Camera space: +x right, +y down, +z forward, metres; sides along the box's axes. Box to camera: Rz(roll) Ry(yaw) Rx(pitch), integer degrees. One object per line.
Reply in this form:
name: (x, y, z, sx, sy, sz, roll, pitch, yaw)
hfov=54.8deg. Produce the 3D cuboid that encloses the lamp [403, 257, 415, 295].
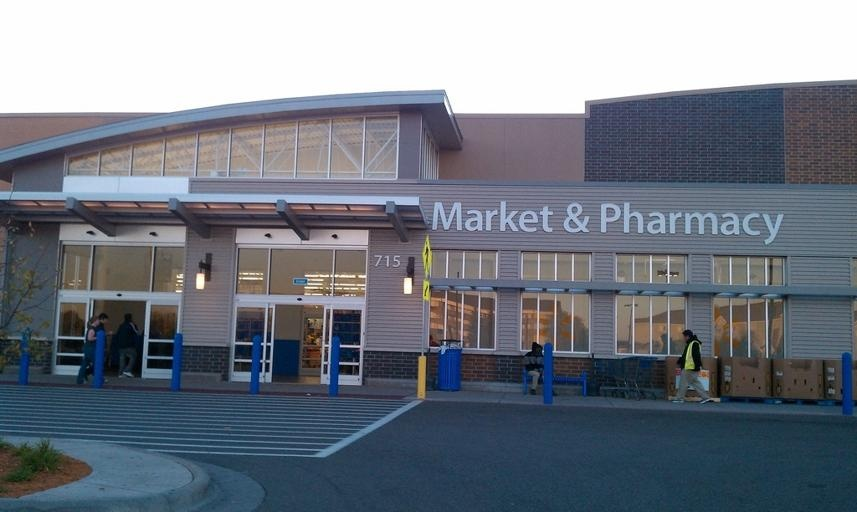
lamp: (-0.762, 0.767, 31.245, 0.386, 1.463, 0.632, 3, 5, 8)

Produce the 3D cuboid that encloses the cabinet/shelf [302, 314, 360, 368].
cabinet/shelf: (-3.751, 3.302, 32.339, 3.025, 2.162, 1.007, 0, -3, -1)

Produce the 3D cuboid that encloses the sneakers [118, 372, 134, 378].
sneakers: (-11.774, 4.676, 32.216, 0.278, 0.212, 0.632, -11, 10, -40)

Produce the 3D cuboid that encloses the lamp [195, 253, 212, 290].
lamp: (-8.714, 0.638, 31.918, 0.487, 1.469, 0.709, 4, 5, 15)

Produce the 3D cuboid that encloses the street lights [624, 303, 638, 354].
street lights: (7.546, 2.650, 31.090, 0.491, 1.720, 0.259, 3, 5, 12)

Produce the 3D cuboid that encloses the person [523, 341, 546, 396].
person: (3.886, 4.130, 30.438, 0.712, 1.866, 0.808, 4, 5, 23)

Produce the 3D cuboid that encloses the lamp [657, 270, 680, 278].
lamp: (9.047, 0.705, 31.213, 0.874, 0.282, 0.120, 2, 5, -4)
